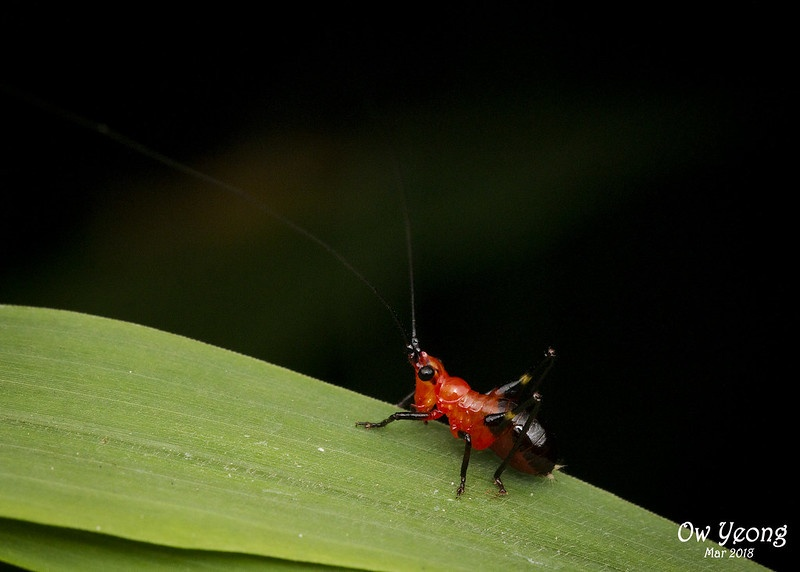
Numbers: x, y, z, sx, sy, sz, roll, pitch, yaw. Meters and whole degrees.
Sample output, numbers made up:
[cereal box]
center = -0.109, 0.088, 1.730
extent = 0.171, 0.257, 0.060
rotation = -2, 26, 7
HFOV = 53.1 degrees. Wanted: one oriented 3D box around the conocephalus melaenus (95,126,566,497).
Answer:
[conocephalus melaenus]
center = 0.025, 0.272, 4.035
extent = 1.620, 1.431, 0.663
rotation = 11, -15, -5
